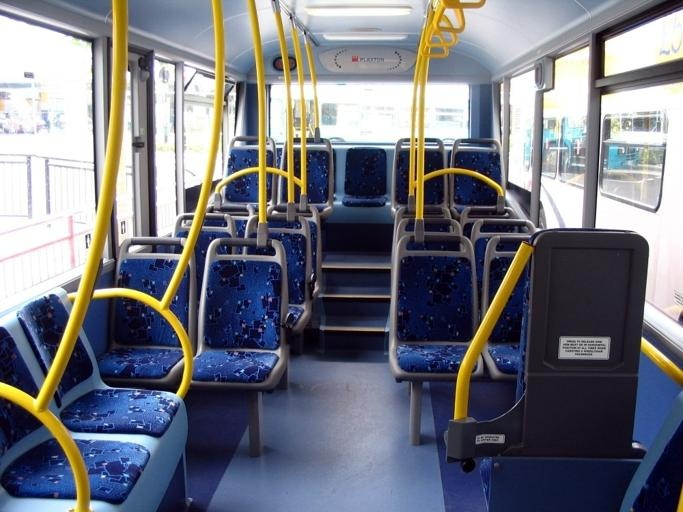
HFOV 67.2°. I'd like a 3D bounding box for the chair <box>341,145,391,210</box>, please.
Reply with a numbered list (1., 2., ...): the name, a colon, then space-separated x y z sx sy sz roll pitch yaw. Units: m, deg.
1. chair: 0.324 -1.092 7.015 0.611 0.785 0.579 1 11 4
